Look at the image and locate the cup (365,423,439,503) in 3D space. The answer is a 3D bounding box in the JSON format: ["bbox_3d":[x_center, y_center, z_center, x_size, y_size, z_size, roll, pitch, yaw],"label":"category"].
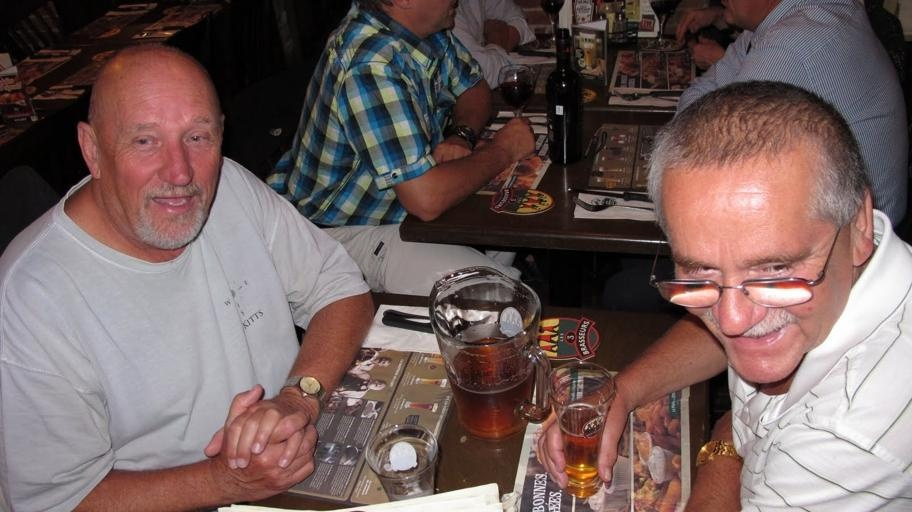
[{"bbox_3d":[-0.126,0.568,1.683,0.218,0.168,0.206,-2,35,2],"label":"cup"}]

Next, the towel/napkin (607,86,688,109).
[{"bbox_3d":[0.927,-0.821,3.171,0.533,0.086,0.134,1,67,2],"label":"towel/napkin"}]

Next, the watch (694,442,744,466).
[{"bbox_3d":[0.764,0.573,1.761,0.109,0.074,0.051,5,43,-15],"label":"watch"}]

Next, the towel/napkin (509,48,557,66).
[{"bbox_3d":[0.489,-1.254,3.782,0.244,0.056,0.215,5,25,11],"label":"towel/napkin"}]

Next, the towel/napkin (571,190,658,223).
[{"bbox_3d":[0.620,-0.211,2.387,0.264,0.034,0.123,0,56,6],"label":"towel/napkin"}]

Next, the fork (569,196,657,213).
[{"bbox_3d":[0.626,-0.190,2.493,0.382,0.062,0.088,4,46,6],"label":"fork"}]

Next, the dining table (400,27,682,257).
[{"bbox_3d":[0.315,-0.311,2.356,0.865,0.250,1.116,4,41,6],"label":"dining table"}]

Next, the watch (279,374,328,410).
[{"bbox_3d":[-0.491,0.439,1.938,0.126,0.107,0.085,6,62,-5],"label":"watch"}]
